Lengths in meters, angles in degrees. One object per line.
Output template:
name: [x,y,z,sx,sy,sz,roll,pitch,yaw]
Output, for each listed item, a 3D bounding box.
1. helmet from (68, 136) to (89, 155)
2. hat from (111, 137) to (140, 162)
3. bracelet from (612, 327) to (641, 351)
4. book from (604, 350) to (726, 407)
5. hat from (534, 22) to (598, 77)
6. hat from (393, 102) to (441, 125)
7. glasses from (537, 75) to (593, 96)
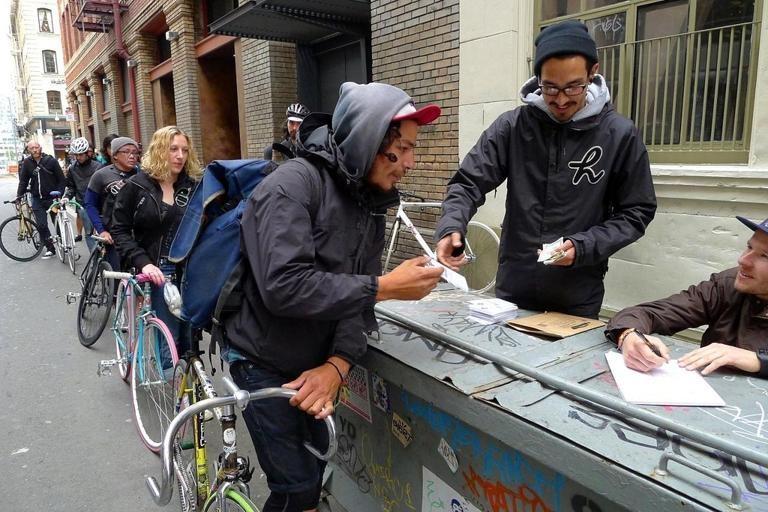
helmet: [-5.525,-1.957,9.235,0.260,0.285,0.659,-8,17,-31]
hat: [-3.051,-1.217,5.885,0.299,0.246,0.221,-7,8,21]
bracelet: [1.232,0.417,2.596,0.096,0.053,0.127,36,-27,-17]
book: [1.279,0.570,2.402,0.440,0.061,0.400,1,15,1]
hat: [1.016,-1.183,3.017,0.257,0.263,0.332,-1,-7,-36]
hat: [0.178,-0.696,2.520,0.161,0.095,0.352,8,16,24]
glasses: [1.051,-0.976,3.000,0.275,0.097,0.142,5,15,17]
